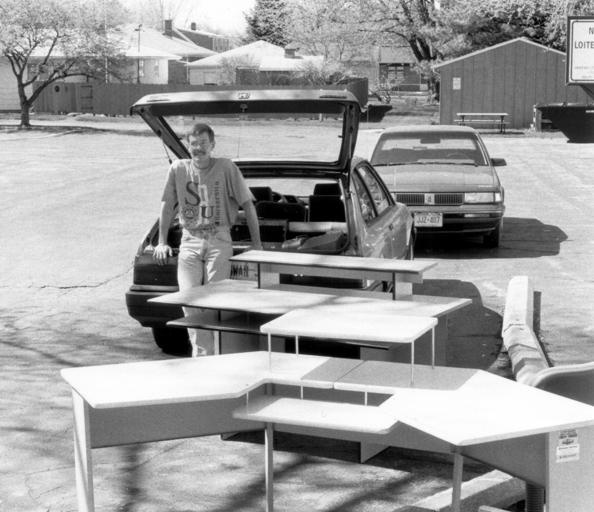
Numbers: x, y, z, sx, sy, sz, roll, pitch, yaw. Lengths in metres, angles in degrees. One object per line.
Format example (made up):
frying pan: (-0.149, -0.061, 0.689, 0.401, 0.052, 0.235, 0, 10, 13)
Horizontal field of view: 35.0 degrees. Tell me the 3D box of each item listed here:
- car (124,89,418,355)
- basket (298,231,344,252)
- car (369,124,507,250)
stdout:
car: (-0.076, -0.558, 9.224, 2.125, 2.056, 3.764, 1, 13, 9)
basket: (0.221, -0.110, 7.708, 0.228, 0.057, 0.229, -2, 15, 25)
car: (1.909, -1.210, 13.415, 2.031, 1.337, 3.343, 2, 17, 10)
